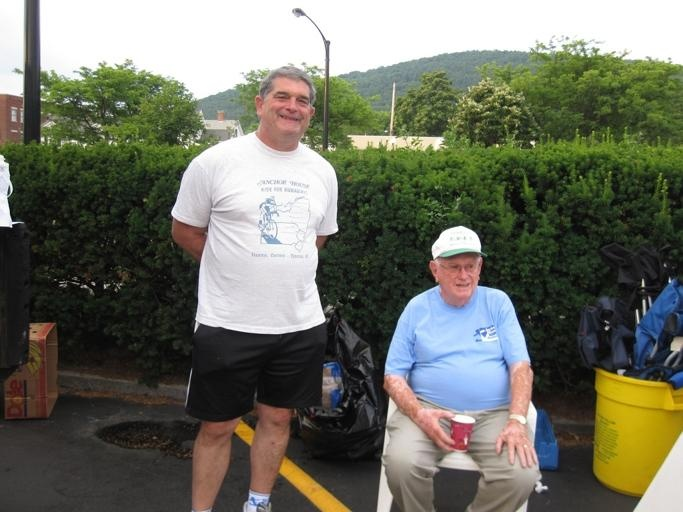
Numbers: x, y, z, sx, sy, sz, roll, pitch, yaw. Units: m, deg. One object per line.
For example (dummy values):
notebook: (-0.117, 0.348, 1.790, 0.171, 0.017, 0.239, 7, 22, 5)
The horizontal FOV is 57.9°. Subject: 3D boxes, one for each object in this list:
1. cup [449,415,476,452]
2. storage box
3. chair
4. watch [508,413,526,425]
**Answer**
cup: (0.741, 1.118, 3.943, 0.196, 0.196, 0.192, 3, -3, 0)
storage box: (-2.714, 1.002, 5.402, 0.391, 0.775, 0.445, 1, 6, -19)
chair: (0.804, 1.390, 4.338, 0.994, 0.880, 1.000, 4, 5, 11)
watch: (1.120, 1.028, 3.894, 0.089, 0.059, 0.092, 12, -31, 3)
